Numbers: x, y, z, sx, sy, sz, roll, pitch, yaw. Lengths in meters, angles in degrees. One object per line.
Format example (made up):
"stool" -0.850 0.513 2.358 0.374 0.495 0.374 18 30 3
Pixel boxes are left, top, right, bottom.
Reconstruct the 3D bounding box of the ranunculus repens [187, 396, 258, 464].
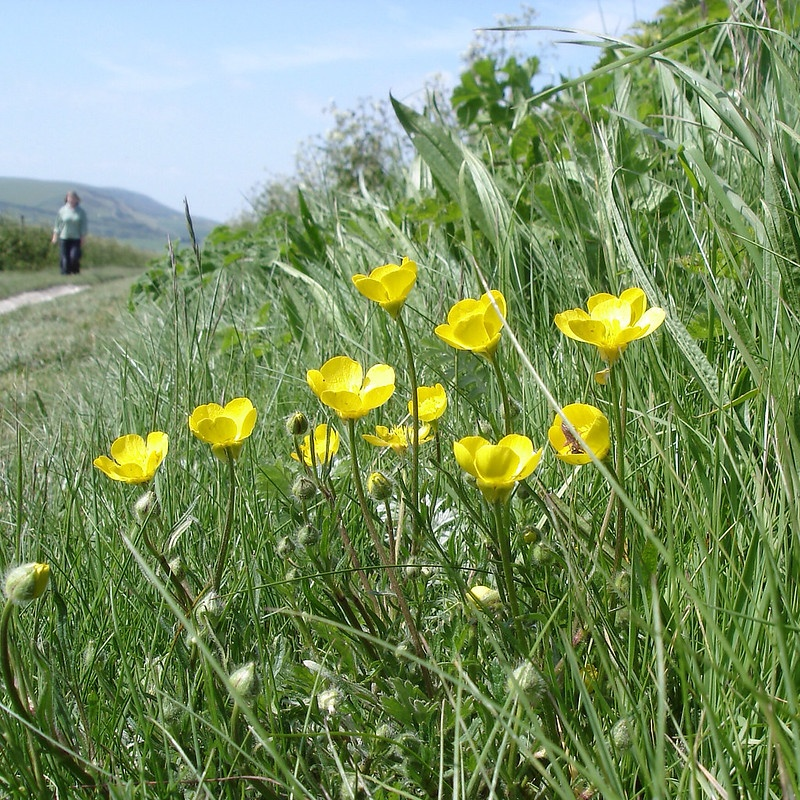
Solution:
"ranunculus repens" -0.261 0.030 1.316 0.086 0.100 0.091 -19 17 -23

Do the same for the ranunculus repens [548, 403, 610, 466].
"ranunculus repens" 0.244 0.053 1.211 0.072 0.090 0.103 -21 32 26

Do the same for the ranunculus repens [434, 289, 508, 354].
"ranunculus repens" 0.103 -0.114 1.257 0.095 0.104 0.275 1 12 6

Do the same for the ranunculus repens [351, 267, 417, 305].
"ranunculus repens" -0.014 -0.170 1.294 0.063 0.062 0.059 -16 10 -30

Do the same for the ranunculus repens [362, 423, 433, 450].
"ranunculus repens" 0.000 0.065 1.593 0.059 0.048 0.061 5 -8 -29

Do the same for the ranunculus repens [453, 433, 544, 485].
"ranunculus repens" 0.125 0.079 1.144 0.105 0.071 0.114 1 11 4

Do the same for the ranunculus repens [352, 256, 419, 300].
"ranunculus repens" -0.018 -0.171 1.314 0.084 0.056 0.133 1 12 3

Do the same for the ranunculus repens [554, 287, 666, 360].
"ranunculus repens" 0.298 -0.110 1.247 0.146 0.095 0.182 4 12 19
